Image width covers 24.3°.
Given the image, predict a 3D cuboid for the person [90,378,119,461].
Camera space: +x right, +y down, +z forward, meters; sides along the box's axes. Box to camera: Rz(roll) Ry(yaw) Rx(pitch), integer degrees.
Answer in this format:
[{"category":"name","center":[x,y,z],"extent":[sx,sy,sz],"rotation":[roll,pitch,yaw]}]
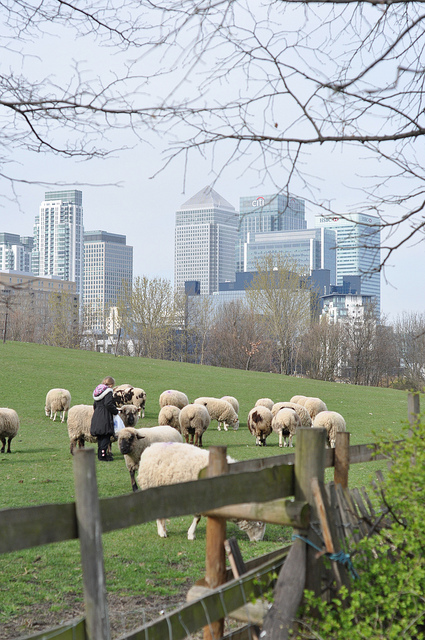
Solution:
[{"category":"person","center":[-1.854,1.686,16.890],"extent":[0.465,1.394,0.882],"rotation":[0,0,-8]}]

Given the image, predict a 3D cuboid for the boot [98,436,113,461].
[{"category":"boot","center":[-1.853,2.239,17.255],"extent":[0.232,0.501,0.711],"rotation":[0,0,-7]}]

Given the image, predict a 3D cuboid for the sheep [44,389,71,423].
[{"category":"sheep","center":[-3.688,2.034,24.076],"extent":[0.423,0.847,1.139],"rotation":[2,-3,-20]}]

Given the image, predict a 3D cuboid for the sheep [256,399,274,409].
[{"category":"sheep","center":[1.406,2.250,26.838],"extent":[0.281,0.327,0.293],"rotation":[-1,-1,10]}]

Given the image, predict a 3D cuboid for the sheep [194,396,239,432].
[{"category":"sheep","center":[0.196,2.340,24.828],"extent":[0.522,1.056,1.683],"rotation":[-2,-16,34]}]

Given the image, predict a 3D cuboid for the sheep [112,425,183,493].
[{"category":"sheep","center":[-0.865,1.964,14.137],"extent":[0.445,0.962,1.576],"rotation":[2,2,27]}]

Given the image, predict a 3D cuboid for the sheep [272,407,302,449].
[{"category":"sheep","center":[1.663,2.285,21.830],"extent":[0.559,0.975,1.205],"rotation":[0,2,7]}]

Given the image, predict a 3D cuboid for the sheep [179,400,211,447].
[{"category":"sheep","center":[-0.326,2.156,20.456],"extent":[0.556,1.013,1.548],"rotation":[4,-5,8]}]

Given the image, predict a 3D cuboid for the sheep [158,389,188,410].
[{"category":"sheep","center":[-1.002,1.937,24.246],"extent":[0.333,0.597,0.830],"rotation":[1,3,18]}]

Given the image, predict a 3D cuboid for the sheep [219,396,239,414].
[{"category":"sheep","center":[0.448,2.258,26.694],"extent":[0.282,0.509,0.711],"rotation":[1,-5,8]}]

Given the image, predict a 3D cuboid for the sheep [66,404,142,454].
[{"category":"sheep","center":[-1.971,1.900,17.438],"extent":[1.243,1.028,0.537],"rotation":[-2,5,19]}]

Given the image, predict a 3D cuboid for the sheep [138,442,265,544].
[{"category":"sheep","center":[-0.380,2.022,10.937],"extent":[1.137,0.865,0.500],"rotation":[0,-27,-38]}]

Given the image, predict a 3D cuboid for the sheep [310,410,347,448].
[{"category":"sheep","center":[2.473,2.401,20.899],"extent":[0.602,0.867,2.724],"rotation":[0,0,6]}]

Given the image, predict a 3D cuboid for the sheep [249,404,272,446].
[{"category":"sheep","center":[1.127,2.407,22.354],"extent":[0.481,0.996,1.457],"rotation":[-3,-11,8]}]

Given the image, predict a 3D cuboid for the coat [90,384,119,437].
[{"category":"coat","center":[-1.835,1.541,16.694],"extent":[0.489,0.877,0.396],"rotation":[0,0,18]}]

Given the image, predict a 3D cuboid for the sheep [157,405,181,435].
[{"category":"sheep","center":[-0.893,2.057,20.614],"extent":[0.351,0.672,0.933],"rotation":[-1,-3,1]}]

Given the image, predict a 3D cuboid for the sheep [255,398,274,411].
[{"category":"sheep","center":[1.451,2.256,26.803],"extent":[0.502,0.459,0.409],"rotation":[-8,-1,34]}]
